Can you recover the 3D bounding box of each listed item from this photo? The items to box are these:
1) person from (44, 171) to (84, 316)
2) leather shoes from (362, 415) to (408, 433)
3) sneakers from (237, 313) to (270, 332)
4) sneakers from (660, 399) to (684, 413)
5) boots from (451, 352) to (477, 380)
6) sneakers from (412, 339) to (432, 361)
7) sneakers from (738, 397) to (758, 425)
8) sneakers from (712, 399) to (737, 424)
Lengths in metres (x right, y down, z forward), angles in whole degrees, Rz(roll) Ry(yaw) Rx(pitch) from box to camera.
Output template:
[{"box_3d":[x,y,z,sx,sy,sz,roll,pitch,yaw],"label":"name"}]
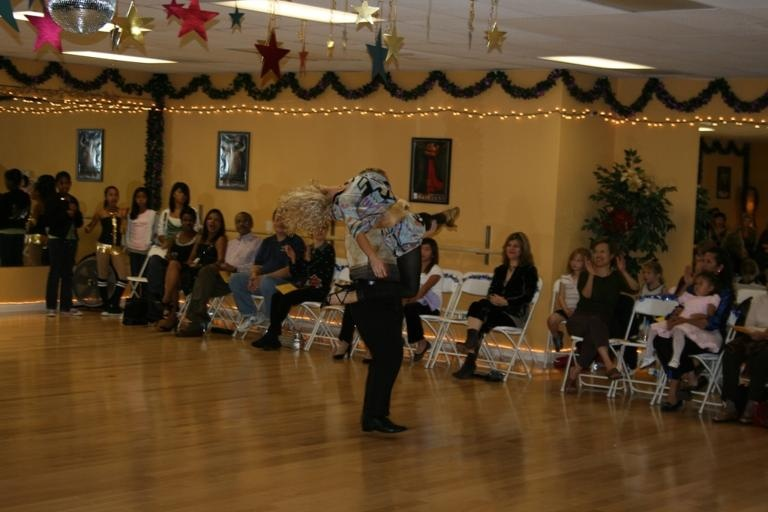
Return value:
[{"box_3d":[-5.278,-0.248,10.033,0.761,2.373,0.672,-3,-5,-1],"label":"person"},{"box_3d":[0.038,1.486,5.422,0.456,0.176,0.148,-2,0,2],"label":"leather shoes"},{"box_3d":[-1.973,1.013,8.968,0.597,0.260,0.233,-5,8,-7],"label":"sneakers"},{"box_3d":[3.208,1.654,6.709,0.306,0.087,0.108,3,-5,-44],"label":"sneakers"},{"box_3d":[1.029,1.374,7.468,0.401,0.364,0.185,1,-2,-6],"label":"boots"},{"box_3d":[0.502,1.305,8.235,0.174,0.148,0.435,-4,-36,-16],"label":"sneakers"},{"box_3d":[3.743,1.580,6.177,0.144,0.253,0.103,7,7,29],"label":"sneakers"},{"box_3d":[3.490,1.617,6.252,0.359,0.260,0.137,-3,0,-14],"label":"sneakers"}]
